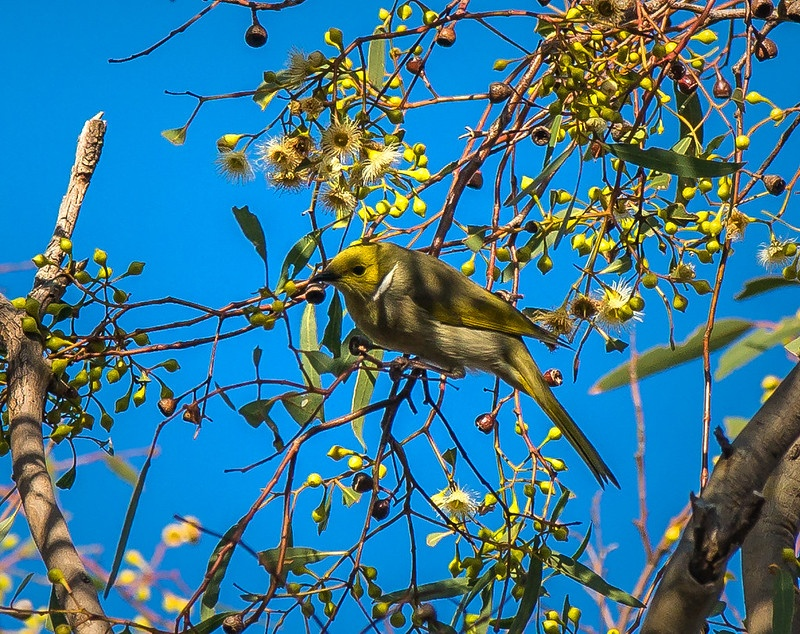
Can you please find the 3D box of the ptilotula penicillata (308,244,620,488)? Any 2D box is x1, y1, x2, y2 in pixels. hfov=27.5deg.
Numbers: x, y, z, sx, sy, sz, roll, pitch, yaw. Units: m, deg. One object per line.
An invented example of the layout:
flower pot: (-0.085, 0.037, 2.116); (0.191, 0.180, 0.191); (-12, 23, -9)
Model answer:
ptilotula penicillata: (0.229, 0.117, 5.408); (1.106, 0.338, 0.462); (18, 69, -7)
